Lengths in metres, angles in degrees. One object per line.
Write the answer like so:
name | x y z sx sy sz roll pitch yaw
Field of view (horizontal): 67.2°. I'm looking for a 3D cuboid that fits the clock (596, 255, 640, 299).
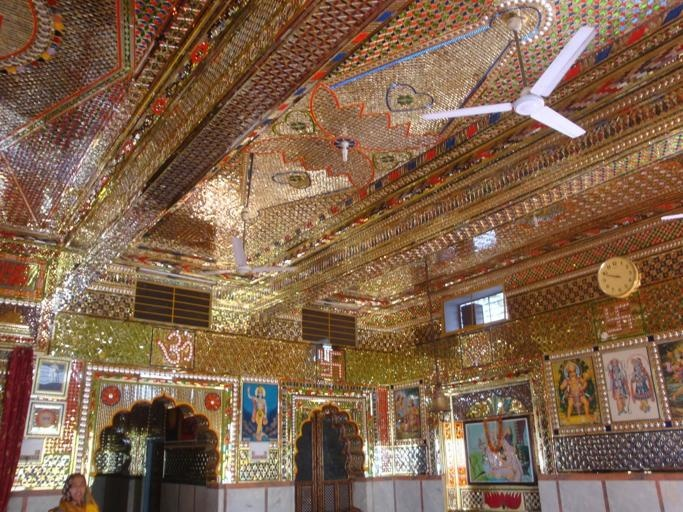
clock | 3.983 0.307 7.238 0.122 0.638 0.550 6 -11 -38
